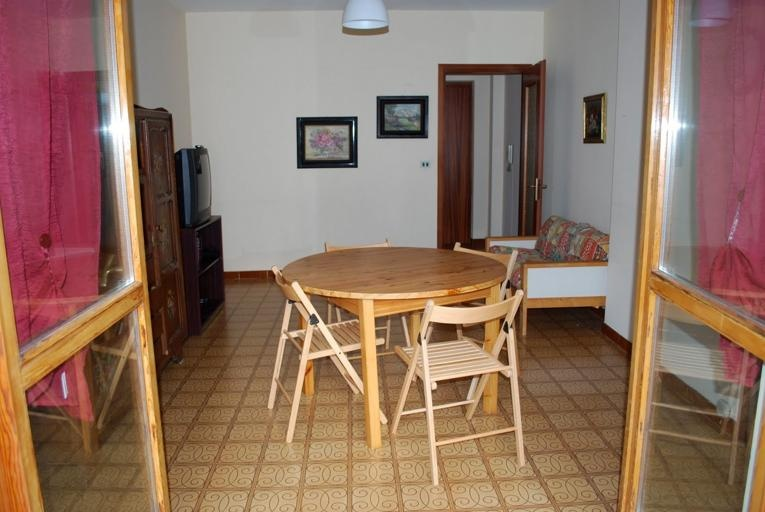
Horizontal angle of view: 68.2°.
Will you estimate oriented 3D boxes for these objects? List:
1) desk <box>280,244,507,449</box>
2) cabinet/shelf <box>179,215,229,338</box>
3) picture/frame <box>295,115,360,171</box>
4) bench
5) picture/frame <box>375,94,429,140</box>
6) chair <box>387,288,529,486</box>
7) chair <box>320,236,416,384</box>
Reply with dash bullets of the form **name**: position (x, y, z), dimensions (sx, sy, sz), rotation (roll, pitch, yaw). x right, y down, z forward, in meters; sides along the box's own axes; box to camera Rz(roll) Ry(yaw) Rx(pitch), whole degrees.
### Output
- **desk**: position (0.286, 0.697, 3.855), dimensions (1.405, 0.962, 1.496), rotation (-2, -3, -23)
- **cabinet/shelf**: position (-1.711, 0.210, 5.344), dimensions (0.166, 0.696, 0.981), rotation (-3, 17, -6)
- **picture/frame**: position (-0.710, -1.428, 6.959), dimensions (0.636, 0.580, 0.056), rotation (-1, 11, -3)
- **bench**: position (1.625, 0.086, 5.663), dimensions (0.902, 0.798, 1.560), rotation (-3, 12, -2)
- **picture/frame**: position (0.216, -1.744, 6.947), dimensions (0.498, 0.438, 0.039), rotation (-1, 13, -2)
- **chair**: position (0.420, 0.682, 3.268), dimensions (0.660, 0.985, 0.736), rotation (-6, 11, -32)
- **chair**: position (-0.086, 0.326, 4.792), dimensions (0.792, 1.508, 0.980), rotation (-3, 6, -21)
